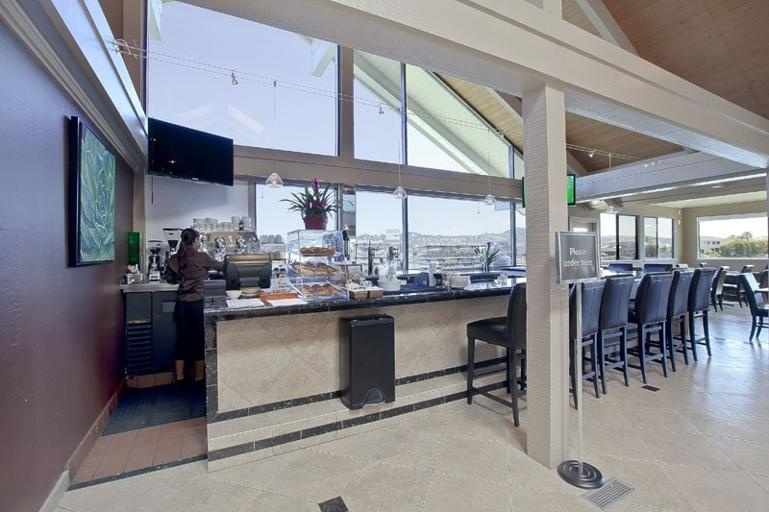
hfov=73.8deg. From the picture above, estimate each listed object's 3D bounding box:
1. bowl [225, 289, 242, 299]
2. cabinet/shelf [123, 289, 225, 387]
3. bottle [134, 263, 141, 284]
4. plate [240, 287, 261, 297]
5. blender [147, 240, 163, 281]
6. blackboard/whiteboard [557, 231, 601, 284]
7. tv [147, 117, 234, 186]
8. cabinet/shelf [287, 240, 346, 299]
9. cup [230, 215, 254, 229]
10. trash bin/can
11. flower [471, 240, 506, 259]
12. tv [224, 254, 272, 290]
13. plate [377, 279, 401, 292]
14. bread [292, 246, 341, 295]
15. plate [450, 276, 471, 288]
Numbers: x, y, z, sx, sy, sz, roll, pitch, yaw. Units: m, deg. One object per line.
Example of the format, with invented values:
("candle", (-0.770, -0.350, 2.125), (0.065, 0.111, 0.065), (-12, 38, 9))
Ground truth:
("bowl", (-1.670, 0.433, 5.660), (0.162, 0.093, 0.157), (-2, 2, 0))
("cabinet/shelf", (-2.649, 0.981, 6.297), (1.257, 1.158, 0.589), (0, -2, -19))
("bottle", (-3.308, 0.235, 6.812), (0.071, 0.227, 0.339), (-3, 2, -25))
("plate", (-1.507, 0.416, 5.730), (0.216, 0.097, 0.116), (-2, 2, -16))
("blender", (-3.280, 0.052, 7.296), (0.231, 0.547, 0.922), (-3, 2, -23))
("blackboard/whiteboard", (1.926, 0.004, 5.075), (0.587, 0.481, 0.135), (-3, 3, -35))
("tv", (-2.866, -1.491, 7.417), (0.112, 0.637, 1.132), (1, 0, 44))
("cabinet/shelf", (-0.770, 0.194, 5.739), (0.481, 0.562, 0.641), (-1, 0, -33))
("cup", (-2.266, -0.516, 8.159), (0.201, 0.230, 0.358), (0, -4, 12))
("trash bin/can", (-0.195, 1.161, 5.657), (0.579, 0.977, 0.284), (-2, 2, -19))
("flower", (2.200, -0.135, 10.670), (0.521, 0.314, 0.566), (0, -3, -10))
("tv", (-1.622, 0.102, 6.083), (0.636, 0.538, 0.369), (0, 4, -22))
("plate", (0.048, 0.351, 5.994), (0.289, 0.142, 0.195), (-2, 2, -24))
("bread", (-0.763, 0.186, 5.741), (0.468, 0.652, 0.563), (2, -4, -42))
("plate", (0.945, 0.320, 6.323), (0.274, 0.147, 0.130), (-2, 2, -17))
